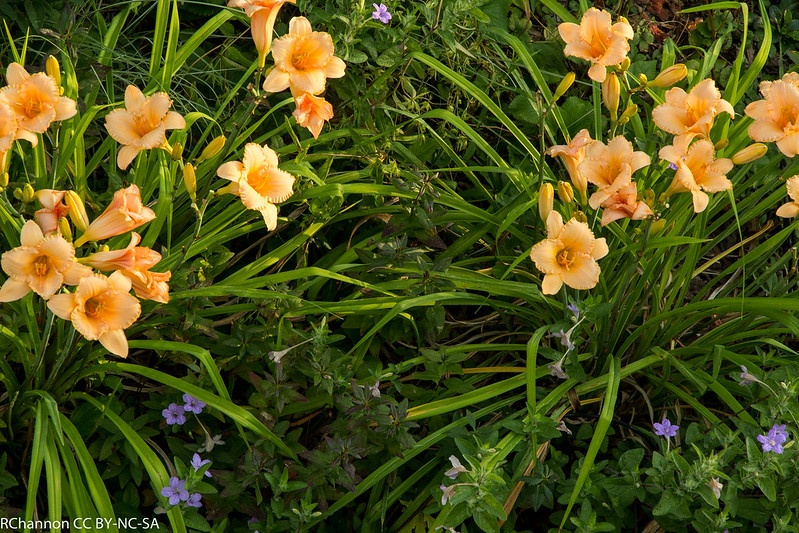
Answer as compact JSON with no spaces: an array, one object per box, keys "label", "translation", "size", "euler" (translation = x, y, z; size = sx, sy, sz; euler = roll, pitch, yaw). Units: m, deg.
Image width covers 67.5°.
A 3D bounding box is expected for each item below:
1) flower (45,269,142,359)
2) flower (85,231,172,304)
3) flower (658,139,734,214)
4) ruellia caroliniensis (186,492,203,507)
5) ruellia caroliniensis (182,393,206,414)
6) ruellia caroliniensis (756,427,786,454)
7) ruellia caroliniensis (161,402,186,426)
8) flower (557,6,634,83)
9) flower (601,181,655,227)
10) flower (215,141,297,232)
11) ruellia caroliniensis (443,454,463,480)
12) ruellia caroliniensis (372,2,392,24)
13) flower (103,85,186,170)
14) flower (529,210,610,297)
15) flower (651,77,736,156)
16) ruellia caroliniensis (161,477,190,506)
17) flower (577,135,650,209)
[{"label":"flower","translation":[-1.093,0.161,2.211],"size":[0.324,0.153,0.315],"euler":[33,75,-24]},{"label":"flower","translation":[-1.002,0.011,2.300],"size":[0.316,0.198,0.218],"euler":[17,32,-3]},{"label":"flower","translation":[1.262,-0.375,2.640],"size":[0.318,0.163,0.328],"euler":[-11,70,-16]},{"label":"ruellia caroliniensis","translation":[-0.851,0.966,2.479],"size":[0.053,0.028,0.061],"euler":[-36,80,-8]},{"label":"ruellia caroliniensis","translation":[-0.931,0.617,2.674],"size":[0.090,0.138,0.056],"euler":[26,50,-3]},{"label":"ruellia caroliniensis","translation":[1.605,0.747,2.555],"size":[0.120,0.042,0.124],"euler":[15,54,9]},{"label":"ruellia caroliniensis","translation":[-1.031,0.674,2.721],"size":[0.105,0.162,0.096],"euler":[6,54,-19]},{"label":"flower","translation":[0.921,-0.956,2.775],"size":[0.324,0.352,0.214],"euler":[18,9,29]},{"label":"flower","translation":[0.981,-0.252,2.563],"size":[0.212,0.181,0.156],"euler":[0,56,-23]},{"label":"flower","translation":[-0.629,-0.339,2.581],"size":[0.346,0.140,0.346],"euler":[41,49,-17]},{"label":"ruellia caroliniensis","translation":[0.230,0.820,2.443],"size":[0.097,0.034,0.097],"euler":[-84,151,-49]},{"label":"ruellia caroliniensis","translation":[-0.096,-1.307,3.103],"size":[0.099,0.063,0.126],"euler":[12,53,-16]},{"label":"flower","translation":[-1.023,-0.551,2.468],"size":[0.329,0.212,0.350],"euler":[1,93,7]},{"label":"flower","translation":[0.710,-0.035,2.528],"size":[0.323,0.167,0.354],"euler":[-17,92,-1]},{"label":"flower","translation":[1.292,-0.704,2.621],"size":[0.293,0.188,0.303],"euler":[25,73,45]},{"label":"ruellia caroliniensis","translation":[-0.917,0.911,2.431],"size":[0.132,0.038,0.134],"euler":[0,89,-23]},{"label":"flower","translation":[0.976,-0.439,2.729],"size":[0.204,0.318,0.306],"euler":[24,42,-60]}]
